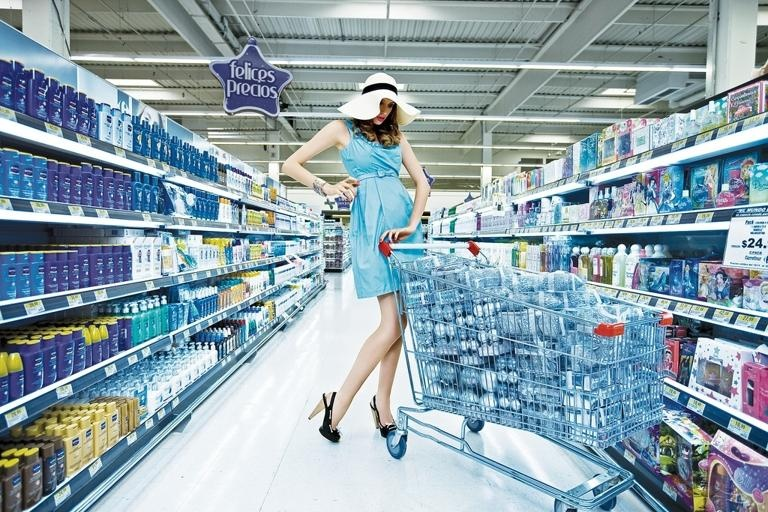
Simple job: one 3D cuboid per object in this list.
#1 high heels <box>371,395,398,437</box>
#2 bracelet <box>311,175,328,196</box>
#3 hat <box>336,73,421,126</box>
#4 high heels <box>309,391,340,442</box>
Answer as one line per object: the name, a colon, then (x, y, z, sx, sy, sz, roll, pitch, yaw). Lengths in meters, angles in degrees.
high heels: (0.031, 1.152, 3.626, 0.120, 0.224, 0.387, 2, 0, -25)
bracelet: (-0.437, -0.473, 3.397, 0.099, 0.120, 0.119, -27, -3, -4)
hat: (-0.112, -1.102, 3.539, 0.408, 0.239, 0.449, 9, -13, -28)
high heels: (-0.412, 1.039, 3.585, 0.192, 0.471, 0.149, -8, 2, 6)
